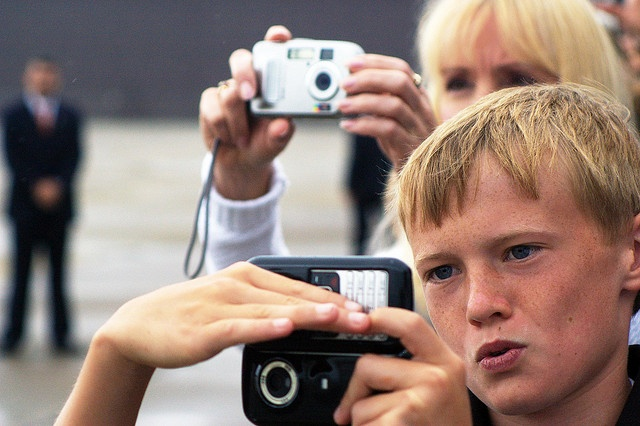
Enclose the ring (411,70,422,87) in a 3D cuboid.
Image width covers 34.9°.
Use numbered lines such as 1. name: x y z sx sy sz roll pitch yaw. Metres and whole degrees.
1. ring: 0.358 -0.510 3.884 0.059 0.060 0.014 -2 0 -45
